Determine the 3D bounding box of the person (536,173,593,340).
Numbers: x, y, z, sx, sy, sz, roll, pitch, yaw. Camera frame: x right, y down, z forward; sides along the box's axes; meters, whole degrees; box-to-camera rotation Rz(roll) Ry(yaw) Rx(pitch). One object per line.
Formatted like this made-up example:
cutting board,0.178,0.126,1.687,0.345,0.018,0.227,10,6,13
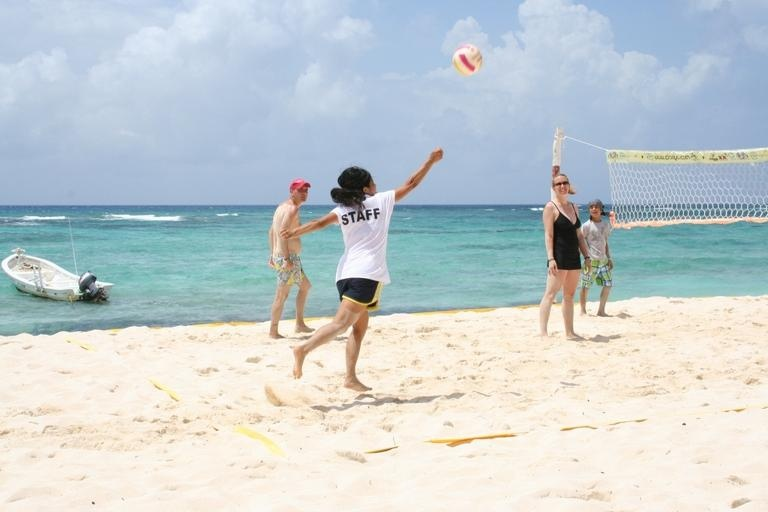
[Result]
person,2.171,0.023,8.076,0.489,2.029,0.528,1,13,12

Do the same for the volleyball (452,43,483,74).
volleyball,0.942,-2.266,7.615,0.298,0.327,0.246,1,12,10

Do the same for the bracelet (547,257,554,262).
bracelet,1.977,0.048,7.884,0.065,0.042,0.065,1,3,29

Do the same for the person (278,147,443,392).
person,-0.227,0.212,6.347,1.409,2.305,0.597,-4,13,-10
